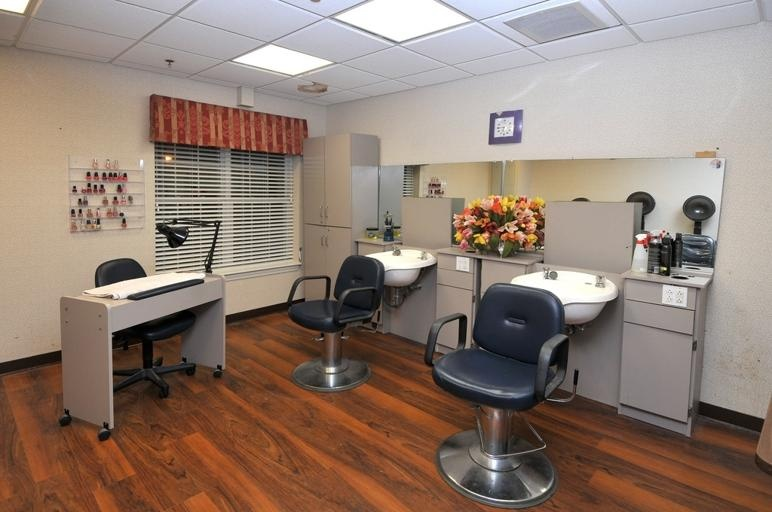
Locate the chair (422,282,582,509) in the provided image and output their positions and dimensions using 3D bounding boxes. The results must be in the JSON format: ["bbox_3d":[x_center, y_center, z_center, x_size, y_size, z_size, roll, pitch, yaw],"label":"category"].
[{"bbox_3d":[0.843,0.997,3.770,0.980,1.515,0.731,3,9,12],"label":"chair"}]

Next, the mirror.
[{"bbox_3d":[1.756,-0.516,4.849,2.566,0.865,0.178,6,10,31],"label":"mirror"}]

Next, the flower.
[{"bbox_3d":[1.097,-0.326,4.945,0.679,0.442,0.659,-3,8,-20],"label":"flower"}]

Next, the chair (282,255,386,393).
[{"bbox_3d":[-0.514,0.640,4.963,0.941,1.122,0.975,5,11,37],"label":"chair"}]

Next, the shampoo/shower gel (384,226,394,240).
[{"bbox_3d":[0.031,-0.264,5.863,0.105,0.147,0.156,0,-3,2],"label":"shampoo/shower gel"}]

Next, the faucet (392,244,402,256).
[{"bbox_3d":[0.137,-0.061,5.490,0.088,0.110,0.115,-1,2,-23],"label":"faucet"}]

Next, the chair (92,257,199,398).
[{"bbox_3d":[-2.260,0.646,4.611,0.828,1.132,0.861,-4,9,-44],"label":"chair"}]

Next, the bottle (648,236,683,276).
[{"bbox_3d":[2.388,0.003,4.247,0.227,0.404,0.291,-2,7,-19],"label":"bottle"}]

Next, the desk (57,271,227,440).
[{"bbox_3d":[-2.109,0.993,4.790,0.916,1.414,1.662,3,4,34],"label":"desk"}]

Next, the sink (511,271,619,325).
[{"bbox_3d":[1.612,0.305,4.180,0.587,0.226,0.627,-9,11,-38],"label":"sink"}]

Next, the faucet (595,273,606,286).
[{"bbox_3d":[1.838,0.200,4.263,0.090,0.141,0.124,1,1,10],"label":"faucet"}]
